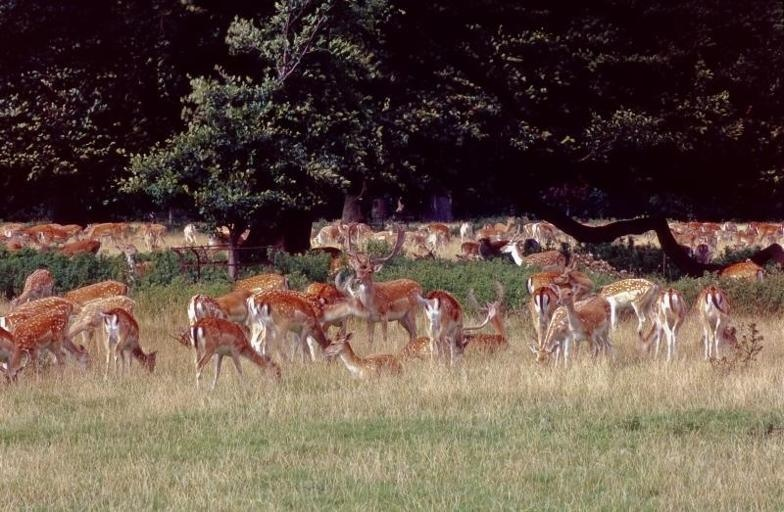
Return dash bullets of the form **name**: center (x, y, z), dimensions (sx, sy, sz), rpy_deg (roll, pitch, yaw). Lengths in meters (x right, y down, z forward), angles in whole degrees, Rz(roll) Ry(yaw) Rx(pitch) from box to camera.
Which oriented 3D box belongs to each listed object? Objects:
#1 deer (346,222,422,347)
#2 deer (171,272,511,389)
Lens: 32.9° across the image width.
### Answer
- **deer**: center (-0.169, 0.833, 27.801), dimensions (1.302, 2.681, 2.235), rpy_deg (-1, -2, 34)
- **deer**: center (-1.268, 1.298, 27.804), dimensions (6.275, 4.879, 2.623), rpy_deg (1, -2, -17)
